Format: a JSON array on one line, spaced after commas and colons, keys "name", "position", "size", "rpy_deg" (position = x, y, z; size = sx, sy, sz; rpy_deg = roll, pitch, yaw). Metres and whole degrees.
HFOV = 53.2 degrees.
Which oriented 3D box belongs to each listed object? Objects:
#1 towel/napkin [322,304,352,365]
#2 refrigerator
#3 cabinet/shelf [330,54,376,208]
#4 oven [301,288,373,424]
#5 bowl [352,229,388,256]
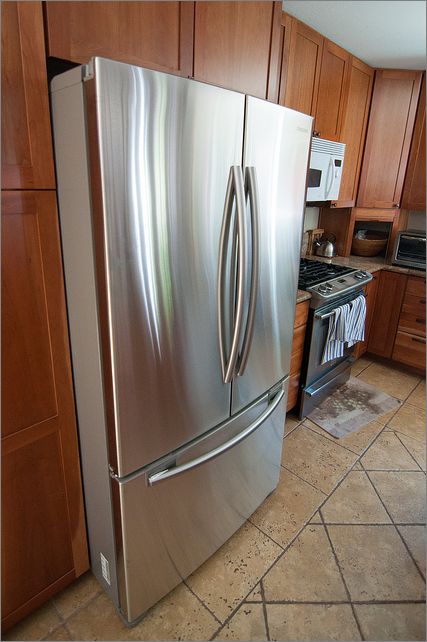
[{"name": "towel/napkin", "position": [0.743, 0.073, 2.605], "size": [0.226, 0.464, 0.044], "rpy_deg": [-23, 34, -35]}, {"name": "refrigerator", "position": [-0.044, 0.137, 1.415], "size": [0.790, 1.664, 0.319], "rpy_deg": [-15, 27, -38]}, {"name": "cabinet/shelf", "position": [0.957, -1.352, 2.963], "size": [0.102, 1.263, 0.443], "rpy_deg": [14, 29, 28]}, {"name": "oven", "position": [0.710, 0.134, 2.874], "size": [0.370, 0.840, 0.715], "rpy_deg": [20, 26, 41]}, {"name": "bowl", "position": [1.324, -0.668, 3.695], "size": [0.228, 0.130, 0.262], "rpy_deg": [-6, 29, -14]}]
